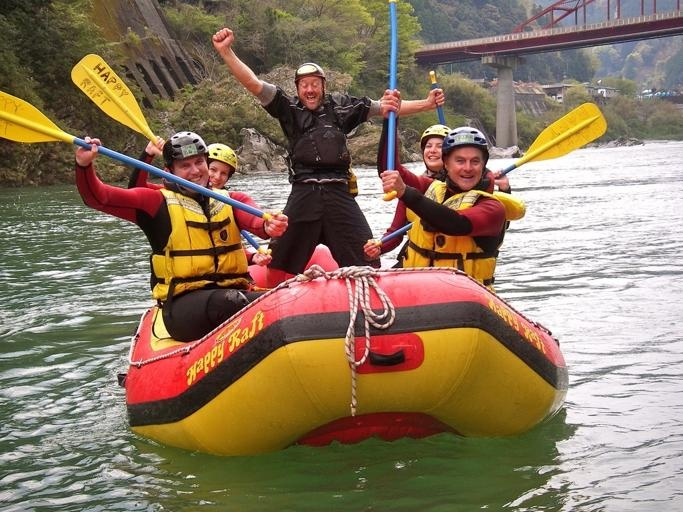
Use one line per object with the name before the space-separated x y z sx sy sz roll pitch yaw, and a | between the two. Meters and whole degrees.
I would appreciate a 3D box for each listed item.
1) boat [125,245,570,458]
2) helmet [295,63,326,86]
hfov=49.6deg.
boat | -0.015 0.650 4.772 2.029 0.659 2.274 0 0 -10
helmet | -0.260 -1.521 6.073 0.229 0.100 0.192 -4 -19 -1
